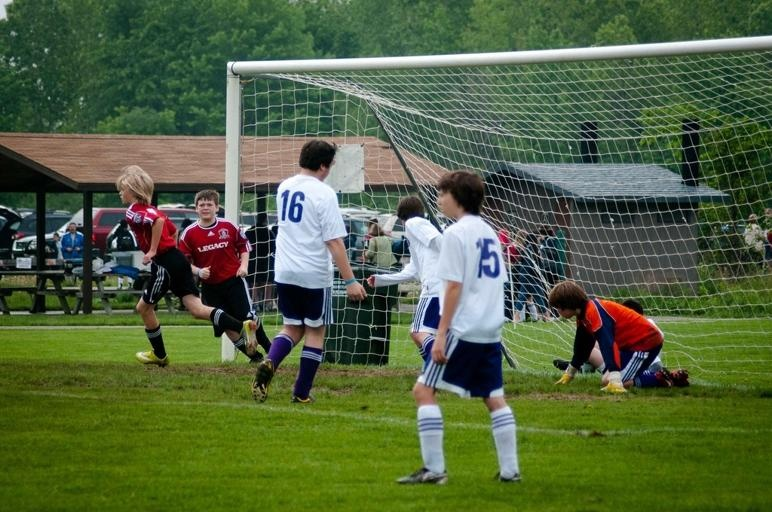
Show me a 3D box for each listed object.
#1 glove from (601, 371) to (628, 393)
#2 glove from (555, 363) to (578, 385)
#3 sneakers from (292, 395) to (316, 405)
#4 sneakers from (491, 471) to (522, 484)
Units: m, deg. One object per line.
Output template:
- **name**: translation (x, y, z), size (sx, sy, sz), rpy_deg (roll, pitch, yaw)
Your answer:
- **glove**: translation (4.586, 2.581, 23.776), size (0.504, 0.357, 0.361), rpy_deg (-11, -12, 33)
- **glove**: translation (3.722, 2.457, 24.382), size (0.130, 0.404, 0.190), rpy_deg (39, 15, -12)
- **sneakers**: translation (-1.578, 2.828, 22.921), size (0.433, 0.172, 0.148), rpy_deg (2, 1, -19)
- **sneakers**: translation (2.189, 4.000, 21.175), size (0.454, 0.188, 0.162), rpy_deg (1, -2, 10)
